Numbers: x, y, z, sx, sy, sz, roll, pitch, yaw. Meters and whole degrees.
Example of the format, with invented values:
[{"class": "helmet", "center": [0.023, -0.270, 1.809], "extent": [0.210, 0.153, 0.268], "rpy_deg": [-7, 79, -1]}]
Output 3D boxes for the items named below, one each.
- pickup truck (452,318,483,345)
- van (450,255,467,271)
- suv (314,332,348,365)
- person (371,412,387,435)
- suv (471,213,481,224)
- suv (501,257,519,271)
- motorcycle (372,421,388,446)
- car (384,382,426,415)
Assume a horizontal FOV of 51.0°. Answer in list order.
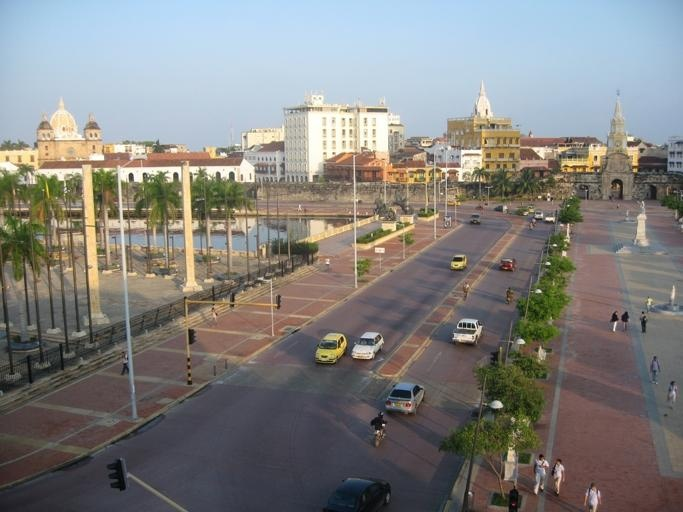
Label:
[{"class": "pickup truck", "center": [10.159, 6.069, 57.177], "extent": [1.357, 1.082, 2.506], "rpy_deg": [3, 14, 23]}, {"class": "van", "center": [14.017, 0.858, 85.400], "extent": [1.177, 1.106, 2.235], "rpy_deg": [-1, 1, 17]}, {"class": "suv", "center": [-0.752, 7.153, 54.234], "extent": [1.533, 1.471, 2.883], "rpy_deg": [4, 14, 21]}, {"class": "person", "center": [2.161, 9.659, 41.432], "extent": [0.680, 0.809, 1.296], "rpy_deg": [3, 11, 11]}, {"class": "suv", "center": [23.855, -6.405, 127.671], "extent": [1.336, 1.248, 2.871], "rpy_deg": [-1, 0, 12]}, {"class": "suv", "center": [19.592, 1.048, 83.840], "extent": [1.134, 0.875, 2.150], "rpy_deg": [3, 17, 24]}, {"class": "motorcycle", "center": [2.204, 10.216, 41.223], "extent": [0.616, 0.810, 1.352], "rpy_deg": [3, 26, 16]}, {"class": "car", "center": [3.941, 9.076, 45.021], "extent": [1.648, 1.401, 2.174], "rpy_deg": [6, 15, 28]}]
